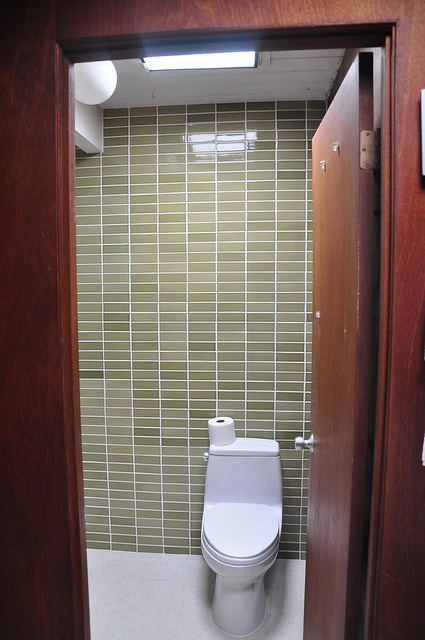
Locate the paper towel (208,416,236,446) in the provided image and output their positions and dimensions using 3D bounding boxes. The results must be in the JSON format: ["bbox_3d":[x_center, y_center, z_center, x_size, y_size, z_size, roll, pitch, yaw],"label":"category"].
[{"bbox_3d":[0.039,0.452,2.228,0.086,0.088,0.100,-2,6,-4],"label":"paper towel"}]
